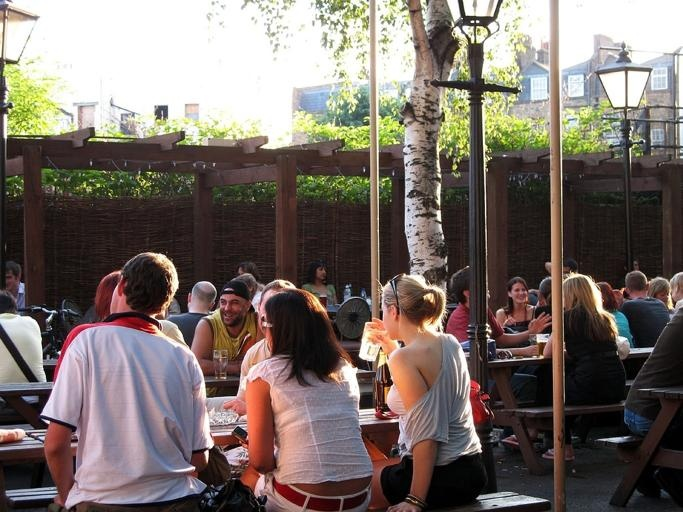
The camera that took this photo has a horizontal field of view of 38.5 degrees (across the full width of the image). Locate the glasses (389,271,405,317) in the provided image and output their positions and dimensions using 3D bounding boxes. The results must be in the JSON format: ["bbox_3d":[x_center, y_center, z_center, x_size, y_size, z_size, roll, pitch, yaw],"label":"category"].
[{"bbox_3d":[0.394,0.276,7.027,0.062,0.220,0.213,-2,2,10],"label":"glasses"}]

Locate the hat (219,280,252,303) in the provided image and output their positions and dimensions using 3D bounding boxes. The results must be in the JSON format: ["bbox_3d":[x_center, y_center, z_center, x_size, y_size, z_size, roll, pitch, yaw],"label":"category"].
[{"bbox_3d":[-1.006,0.335,9.363,0.218,0.148,0.224,6,-3,-13],"label":"hat"}]

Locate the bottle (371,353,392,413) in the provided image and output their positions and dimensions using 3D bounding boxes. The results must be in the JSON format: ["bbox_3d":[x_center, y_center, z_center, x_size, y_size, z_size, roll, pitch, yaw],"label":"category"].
[{"bbox_3d":[0.330,1.025,7.759,0.117,0.524,0.419,-3,4,-12],"label":"bottle"}]

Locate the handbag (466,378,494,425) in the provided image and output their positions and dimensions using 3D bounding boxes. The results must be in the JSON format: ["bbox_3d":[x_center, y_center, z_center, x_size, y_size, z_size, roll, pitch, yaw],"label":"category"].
[{"bbox_3d":[1.066,1.129,7.603,0.182,0.339,0.258,-13,2,10],"label":"handbag"}]

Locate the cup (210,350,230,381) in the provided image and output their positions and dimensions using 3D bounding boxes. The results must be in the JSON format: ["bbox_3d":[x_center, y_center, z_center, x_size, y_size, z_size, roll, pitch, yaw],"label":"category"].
[{"bbox_3d":[-1.100,0.998,8.948,0.110,0.270,0.149,-3,4,-10],"label":"cup"}]

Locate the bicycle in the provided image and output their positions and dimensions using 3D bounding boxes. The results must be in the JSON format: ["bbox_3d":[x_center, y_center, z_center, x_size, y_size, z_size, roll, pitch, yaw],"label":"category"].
[{"bbox_3d":[-3.742,1.046,13.262,1.109,0.728,0.759,-1,3,-7],"label":"bicycle"}]

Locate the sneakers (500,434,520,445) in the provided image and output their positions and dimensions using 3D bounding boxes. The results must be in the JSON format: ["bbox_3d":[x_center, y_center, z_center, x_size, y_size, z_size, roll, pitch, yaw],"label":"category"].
[{"bbox_3d":[1.807,1.977,10.452,0.185,0.071,0.159,1,0,13],"label":"sneakers"}]

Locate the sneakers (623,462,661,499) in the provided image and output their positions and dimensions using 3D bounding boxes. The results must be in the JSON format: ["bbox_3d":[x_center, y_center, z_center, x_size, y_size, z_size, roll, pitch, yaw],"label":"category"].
[{"bbox_3d":[2.722,1.997,8.789,0.338,0.306,0.279,-4,2,-19],"label":"sneakers"}]
